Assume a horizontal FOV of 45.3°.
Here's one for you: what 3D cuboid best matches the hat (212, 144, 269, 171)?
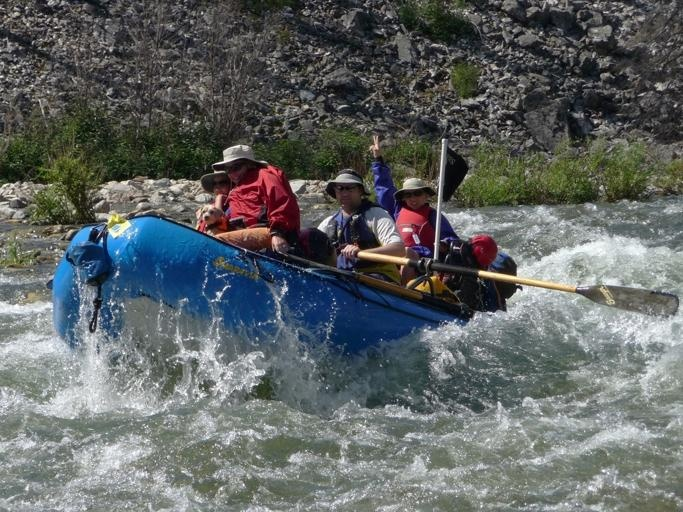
[{"bbox_3d":[-1.201,-1.181,9.976,0.413,0.175,0.428,-10,-7,15],"label":"hat"}]

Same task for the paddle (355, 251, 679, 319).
[{"bbox_3d":[2.295,0.402,10.745,3.251,0.175,0.352,10,49,1],"label":"paddle"}]
